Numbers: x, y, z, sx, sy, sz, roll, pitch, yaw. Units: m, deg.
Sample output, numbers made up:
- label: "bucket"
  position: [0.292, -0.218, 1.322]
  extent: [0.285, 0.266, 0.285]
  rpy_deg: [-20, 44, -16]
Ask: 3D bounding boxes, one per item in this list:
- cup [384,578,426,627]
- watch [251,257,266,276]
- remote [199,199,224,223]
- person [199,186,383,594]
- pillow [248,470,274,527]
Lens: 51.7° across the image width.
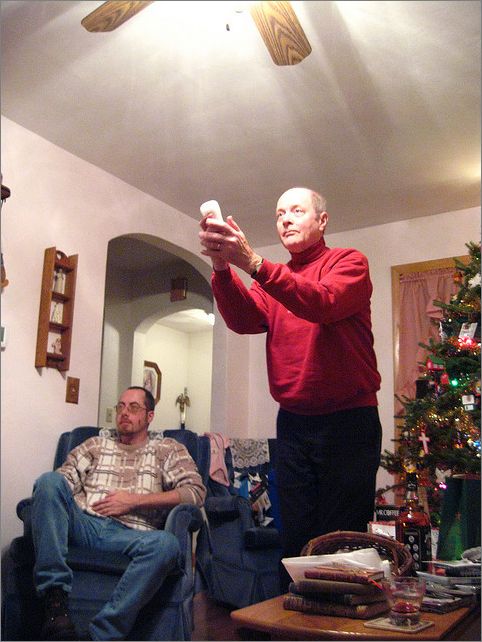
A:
- label: "cup"
  position: [0.245, 0.423, 0.744]
  extent: [0.055, 0.054, 0.056]
  rpy_deg: [1, -25, 0]
- label: "watch"
  position: [0.035, -0.123, 1.117]
  extent: [0.010, 0.037, 0.035]
  rpy_deg: [36, -8, 1]
- label: "remote"
  position: [-0.072, -0.262, 1.180]
  extent: [0.043, 0.054, 0.030]
  rpy_deg: [-7, -8, -12]
- label: "person"
  position: [0.149, 0.090, 1.309]
  extent: [0.436, 1.024, 0.536]
  rpy_deg: [-11, -9, 15]
- label: "pillow"
  position: [0.127, 1.188, 3.294]
  extent: [0.074, 0.199, 0.147]
  rpy_deg: [-40, -1, -8]
